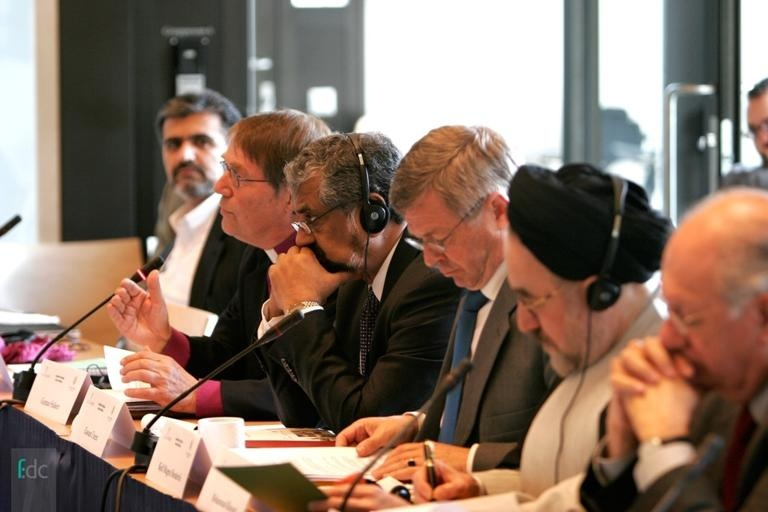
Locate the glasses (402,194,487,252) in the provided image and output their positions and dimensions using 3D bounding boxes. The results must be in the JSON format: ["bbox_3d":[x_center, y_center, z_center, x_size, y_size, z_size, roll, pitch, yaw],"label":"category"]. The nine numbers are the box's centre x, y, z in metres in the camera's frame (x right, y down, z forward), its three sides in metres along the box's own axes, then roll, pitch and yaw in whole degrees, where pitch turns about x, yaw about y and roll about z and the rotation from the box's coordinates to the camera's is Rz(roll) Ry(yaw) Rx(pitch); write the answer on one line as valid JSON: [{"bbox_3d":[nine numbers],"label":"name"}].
[{"bbox_3d":[0.178,-0.103,2.141,0.186,0.058,0.140,-41,11,-18],"label":"glasses"}]

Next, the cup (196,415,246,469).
[{"bbox_3d":[-0.416,0.463,1.908,0.082,0.109,0.113,-1,-9,-11],"label":"cup"}]

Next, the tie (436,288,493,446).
[{"bbox_3d":[0.214,0.313,2.146,0.094,0.351,0.257,8,-24,3],"label":"tie"}]

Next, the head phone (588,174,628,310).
[{"bbox_3d":[0.522,-0.016,1.682,0.059,0.228,0.163,14,-8,1],"label":"head phone"}]

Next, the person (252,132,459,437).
[{"bbox_3d":[-0.075,0.151,3.045,0.810,1.599,0.831,3,-6,-14],"label":"person"}]

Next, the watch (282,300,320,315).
[{"bbox_3d":[-0.242,0.163,2.372,0.069,0.027,0.053,-14,4,26],"label":"watch"}]
